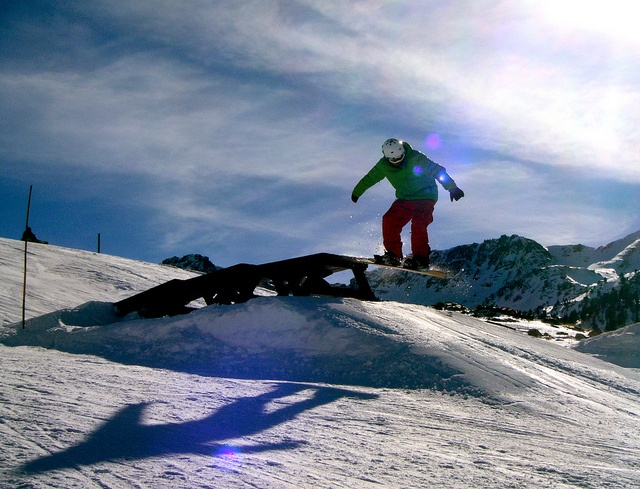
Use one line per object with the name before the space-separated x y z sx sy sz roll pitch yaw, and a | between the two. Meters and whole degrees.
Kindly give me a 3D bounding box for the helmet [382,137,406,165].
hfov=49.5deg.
helmet | 1.496 -1.886 14.022 0.426 0.502 0.503 7 0 14
